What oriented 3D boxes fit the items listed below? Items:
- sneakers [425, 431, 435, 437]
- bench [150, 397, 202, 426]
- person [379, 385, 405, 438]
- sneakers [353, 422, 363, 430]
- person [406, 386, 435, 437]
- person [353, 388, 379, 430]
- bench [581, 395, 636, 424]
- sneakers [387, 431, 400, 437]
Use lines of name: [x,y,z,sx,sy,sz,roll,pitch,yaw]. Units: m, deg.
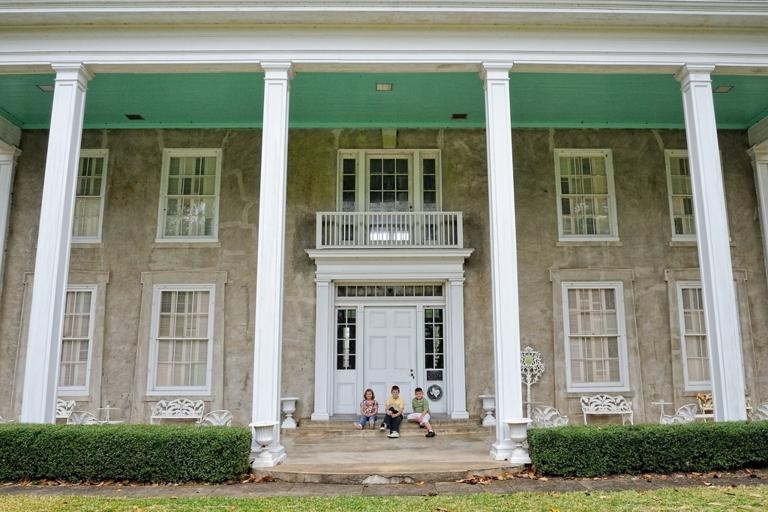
sneakers: [0.993,3.842,15.762,0.211,0.111,0.300,-2,-14,4]
bench: [-4.645,3.430,16.265,1.389,0.535,0.846,-1,-15,3]
person: [0.162,3.406,15.947,0.468,1.107,0.642,0,-16,-1]
sneakers: [-0.578,3.746,16.098,0.111,0.078,0.243,14,-5,-25]
person: [0.825,3.485,16.275,0.626,1.082,1.137,-1,-15,3]
person: [-0.389,3.424,16.347,0.502,0.852,0.516,0,-16,-1]
bench: [5.087,3.454,16.588,1.224,0.677,0.606,-3,-16,8]
sneakers: [0.202,3.825,15.662,0.280,0.125,0.256,0,-14,-3]
